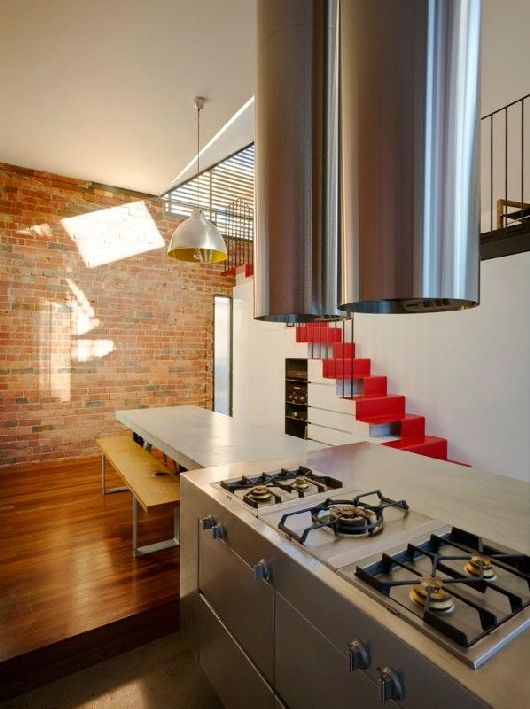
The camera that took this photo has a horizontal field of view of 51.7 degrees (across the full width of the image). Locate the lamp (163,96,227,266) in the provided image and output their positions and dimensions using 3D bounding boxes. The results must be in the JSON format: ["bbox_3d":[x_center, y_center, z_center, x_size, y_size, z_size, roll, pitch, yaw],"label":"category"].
[{"bbox_3d":[-0.441,-1.108,3.467,0.321,1.079,1.121,-3,6,-4],"label":"lamp"}]
